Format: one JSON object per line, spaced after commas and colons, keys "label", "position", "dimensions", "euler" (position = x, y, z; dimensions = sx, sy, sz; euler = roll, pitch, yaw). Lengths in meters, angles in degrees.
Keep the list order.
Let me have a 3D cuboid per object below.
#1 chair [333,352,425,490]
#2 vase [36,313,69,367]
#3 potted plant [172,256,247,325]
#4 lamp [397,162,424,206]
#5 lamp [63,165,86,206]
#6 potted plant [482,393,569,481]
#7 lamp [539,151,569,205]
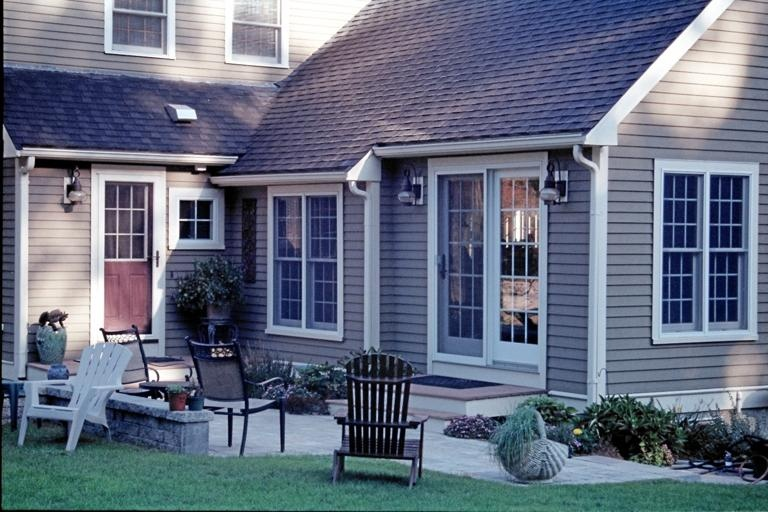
{"label": "chair", "position": [-0.044, 1.951, 13.721], "dimensions": [1.183, 1.434, 1.279], "euler": [1, -8, 19]}
{"label": "vase", "position": [-5.484, 1.404, 18.983], "dimensions": [0.632, 0.718, 0.601], "euler": [2, -8, -20]}
{"label": "potted plant", "position": [-2.984, 0.592, 20.069], "dimensions": [1.179, 1.100, 1.173], "euler": [4, 3, 20]}
{"label": "lamp", "position": [0.454, -1.124, 18.097], "dimensions": [0.384, 0.638, 0.323], "euler": [4, -5, -13]}
{"label": "lamp", "position": [-5.111, -1.170, 19.102], "dimensions": [0.335, 0.645, 0.319], "euler": [5, -5, -16]}
{"label": "potted plant", "position": [1.719, 2.334, 14.087], "dimensions": [0.995, 1.029, 0.947], "euler": [-8, -14, 37]}
{"label": "lamp", "position": [2.427, -1.088, 16.390], "dimensions": [0.368, 0.688, 0.306], "euler": [-1, -7, 40]}
